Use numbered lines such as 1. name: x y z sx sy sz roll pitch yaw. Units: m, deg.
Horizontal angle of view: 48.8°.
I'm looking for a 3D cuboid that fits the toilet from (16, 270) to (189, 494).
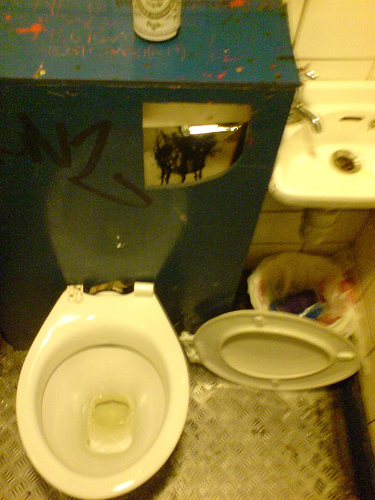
1. toilet: -0.213 0.341 1.088 0.504 0.254 0.571 1 87 -1
